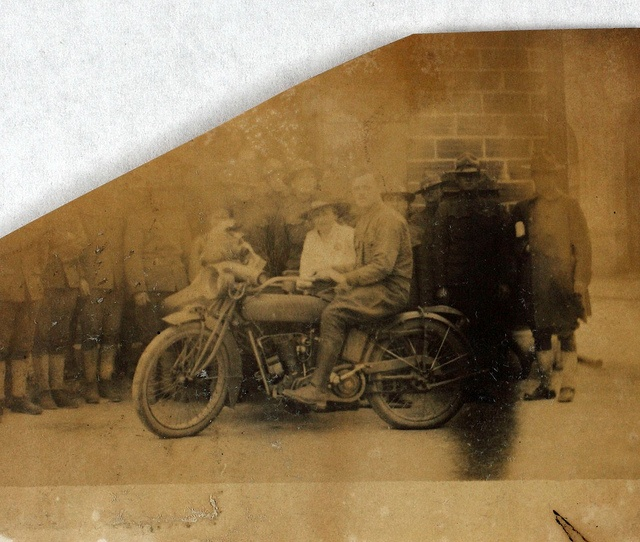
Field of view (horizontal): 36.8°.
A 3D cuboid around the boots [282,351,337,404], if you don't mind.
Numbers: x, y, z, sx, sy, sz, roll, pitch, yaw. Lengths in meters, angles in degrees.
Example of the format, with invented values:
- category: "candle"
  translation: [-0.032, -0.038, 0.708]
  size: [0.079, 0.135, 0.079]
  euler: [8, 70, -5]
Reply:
- category: "boots"
  translation: [-0.071, 0.639, 5.878]
  size: [0.274, 0.365, 0.147]
  euler: [11, -5, -39]

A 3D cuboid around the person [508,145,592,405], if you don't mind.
- category: "person"
  translation: [1.424, 0.029, 5.886]
  size: [0.428, 1.481, 0.246]
  euler: [-1, 6, 12]

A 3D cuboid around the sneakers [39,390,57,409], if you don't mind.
- category: "sneakers"
  translation: [-1.698, 0.787, 5.968]
  size: [0.159, 0.088, 0.058]
  euler: [1, 0, 37]

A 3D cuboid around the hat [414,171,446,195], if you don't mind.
- category: "hat"
  translation: [0.675, -0.558, 5.926]
  size: [0.129, 0.063, 0.127]
  euler: [-21, -1, -20]
